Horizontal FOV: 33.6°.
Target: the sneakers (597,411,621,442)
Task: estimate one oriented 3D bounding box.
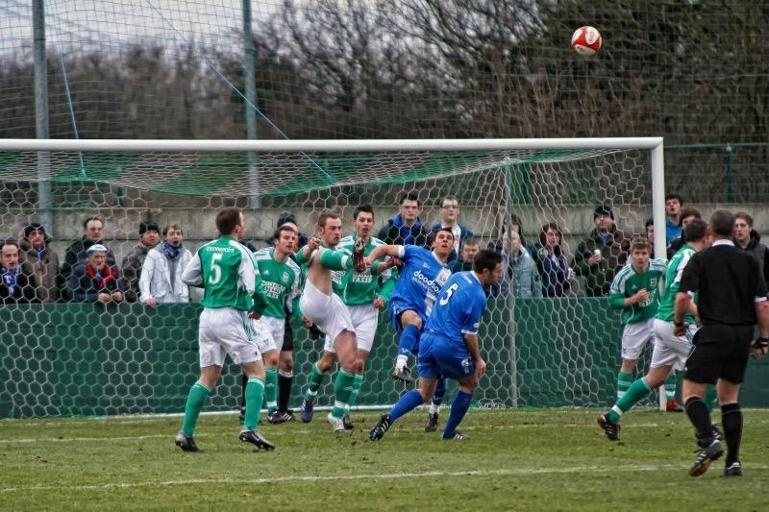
[{"bbox_3d":[3.338,2.499,18.791,0.235,0.527,0.190,-27,8,4],"label":"sneakers"}]

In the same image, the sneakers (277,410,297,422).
[{"bbox_3d":[-1.550,2.549,20.274,0.123,0.150,0.333,2,-8,-37],"label":"sneakers"}]

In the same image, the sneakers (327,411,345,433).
[{"bbox_3d":[-0.731,2.547,19.434,0.145,0.164,0.381,23,10,-33],"label":"sneakers"}]

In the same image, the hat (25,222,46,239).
[{"bbox_3d":[-5.742,-0.428,21.027,0.298,0.244,0.454,-2,-2,15],"label":"hat"}]

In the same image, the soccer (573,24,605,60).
[{"bbox_3d":[3.481,-3.732,21.881,0.443,0.573,0.753,-2,-2,7],"label":"soccer"}]

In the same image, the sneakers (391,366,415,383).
[{"bbox_3d":[0.294,1.766,18.876,0.252,0.168,0.349,18,-13,13],"label":"sneakers"}]

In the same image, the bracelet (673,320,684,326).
[{"bbox_3d":[4.122,0.933,17.726,0.089,0.066,0.091,0,-4,21],"label":"bracelet"}]

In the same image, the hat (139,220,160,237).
[{"bbox_3d":[-3.923,-0.481,21.276,0.248,0.245,0.304,17,-36,-42],"label":"hat"}]

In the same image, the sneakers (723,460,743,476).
[{"bbox_3d":[4.683,2.842,16.990,0.313,0.182,0.209,-1,-2,-9],"label":"sneakers"}]

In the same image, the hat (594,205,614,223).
[{"bbox_3d":[3.736,-0.723,21.633,0.265,0.226,0.286,1,6,25],"label":"hat"}]

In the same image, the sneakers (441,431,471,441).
[{"bbox_3d":[1.063,2.651,18.789,0.412,0.176,0.140,-2,4,-6],"label":"sneakers"}]

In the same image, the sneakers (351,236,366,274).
[{"bbox_3d":[-0.350,-0.021,18.334,0.149,0.489,0.218,8,16,24],"label":"sneakers"}]

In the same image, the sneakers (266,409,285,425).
[{"bbox_3d":[-1.726,2.561,20.157,0.129,0.146,0.313,-1,-5,-32],"label":"sneakers"}]

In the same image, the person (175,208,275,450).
[{"bbox_3d":[-2.274,1.034,18.299,1.249,3.482,0.732,-1,-2,-10],"label":"person"}]

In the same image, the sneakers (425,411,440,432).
[{"bbox_3d":[0.730,2.549,19.370,0.134,0.337,0.154,17,39,-3],"label":"sneakers"}]

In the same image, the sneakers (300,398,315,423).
[{"bbox_3d":[-1.220,2.472,20.218,0.142,0.421,0.187,9,-15,-19],"label":"sneakers"}]
